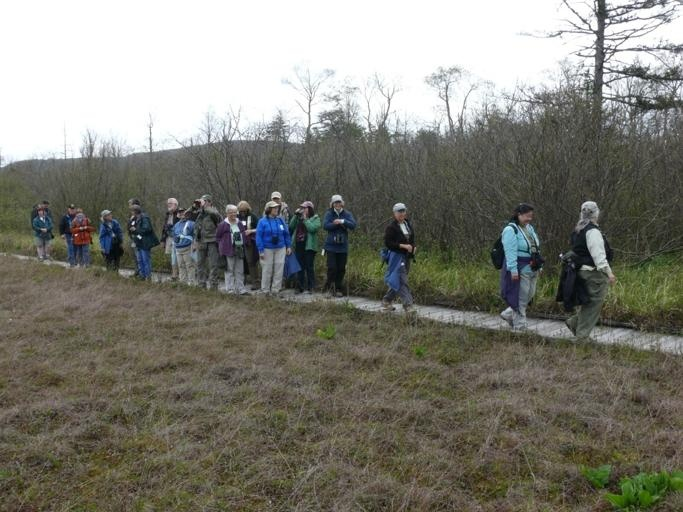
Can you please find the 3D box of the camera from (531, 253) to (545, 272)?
[{"bbox_3d":[3.389,0.103,11.832,0.188,0.323,0.123,4,10,26],"label":"camera"}]

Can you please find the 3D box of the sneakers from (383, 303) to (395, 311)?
[{"bbox_3d":[0.932,1.005,13.496,0.118,0.078,0.176,5,13,-8],"label":"sneakers"}]

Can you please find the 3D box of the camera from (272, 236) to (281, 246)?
[{"bbox_3d":[-1.389,-0.320,14.593,0.152,0.252,0.135,11,36,1],"label":"camera"}]

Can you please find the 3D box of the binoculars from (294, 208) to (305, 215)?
[{"bbox_3d":[-0.938,-0.990,15.207,0.108,0.167,0.298,-8,10,-43],"label":"binoculars"}]

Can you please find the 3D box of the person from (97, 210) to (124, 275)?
[{"bbox_3d":[-6.319,-0.421,18.824,0.591,1.718,1.558,-3,8,-20],"label":"person"}]

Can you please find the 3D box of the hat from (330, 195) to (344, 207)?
[{"bbox_3d":[-0.087,-1.195,14.852,0.322,0.305,0.534,-1,-2,-6],"label":"hat"}]

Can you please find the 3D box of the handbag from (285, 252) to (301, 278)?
[{"bbox_3d":[-1.073,0.185,15.042,0.360,0.532,0.300,-2,7,-7],"label":"handbag"}]

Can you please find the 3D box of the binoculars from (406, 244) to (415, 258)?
[{"bbox_3d":[1.298,-0.114,13.010,0.166,0.123,0.257,1,-38,-4],"label":"binoculars"}]

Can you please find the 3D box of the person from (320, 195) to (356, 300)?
[{"bbox_3d":[-0.056,-0.207,15.036,0.654,2.259,0.859,-1,7,-2],"label":"person"}]

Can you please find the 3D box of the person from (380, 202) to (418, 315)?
[{"bbox_3d":[1.134,0.023,13.560,0.654,2.166,1.355,-1,7,4],"label":"person"}]

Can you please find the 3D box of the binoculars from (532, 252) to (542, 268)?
[{"bbox_3d":[3.350,0.077,11.740,0.083,0.253,0.158,2,-2,-41],"label":"binoculars"}]

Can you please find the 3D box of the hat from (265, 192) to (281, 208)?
[{"bbox_3d":[-1.473,-1.222,14.823,0.313,0.336,0.576,4,10,-3],"label":"hat"}]

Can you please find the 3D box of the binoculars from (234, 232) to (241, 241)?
[{"bbox_3d":[-2.299,-0.429,15.222,0.118,0.210,0.053,0,-8,-20],"label":"binoculars"}]

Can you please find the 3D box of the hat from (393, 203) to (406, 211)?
[{"bbox_3d":[1.108,-0.909,12.929,0.196,0.134,0.202,-2,8,-5],"label":"hat"}]

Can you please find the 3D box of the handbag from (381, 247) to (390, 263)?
[{"bbox_3d":[0.860,-0.010,13.351,0.176,0.389,0.252,1,0,11],"label":"handbag"}]

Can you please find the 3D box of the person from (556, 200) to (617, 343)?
[{"bbox_3d":[3.943,0.261,11.138,0.794,2.236,0.626,1,7,20],"label":"person"}]

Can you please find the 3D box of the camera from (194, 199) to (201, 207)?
[{"bbox_3d":[-3.352,-1.254,15.967,0.155,0.115,0.230,-7,-2,-13],"label":"camera"}]

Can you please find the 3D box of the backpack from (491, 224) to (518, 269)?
[{"bbox_3d":[2.889,-0.133,12.144,0.362,0.849,0.510,4,8,19],"label":"backpack"}]

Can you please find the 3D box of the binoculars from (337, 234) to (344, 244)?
[{"bbox_3d":[-0.017,-0.353,14.595,0.125,0.278,0.135,4,7,15],"label":"binoculars"}]

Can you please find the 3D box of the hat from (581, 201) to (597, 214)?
[{"bbox_3d":[4.089,-0.795,11.273,0.191,0.284,0.277,2,19,9],"label":"hat"}]

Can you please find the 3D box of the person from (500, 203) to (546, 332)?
[{"bbox_3d":[3.104,0.183,11.870,0.682,2.160,0.506,-3,7,-16],"label":"person"}]

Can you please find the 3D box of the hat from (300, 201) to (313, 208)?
[{"bbox_3d":[-0.739,-1.126,15.144,0.288,0.166,0.232,5,3,-17],"label":"hat"}]
